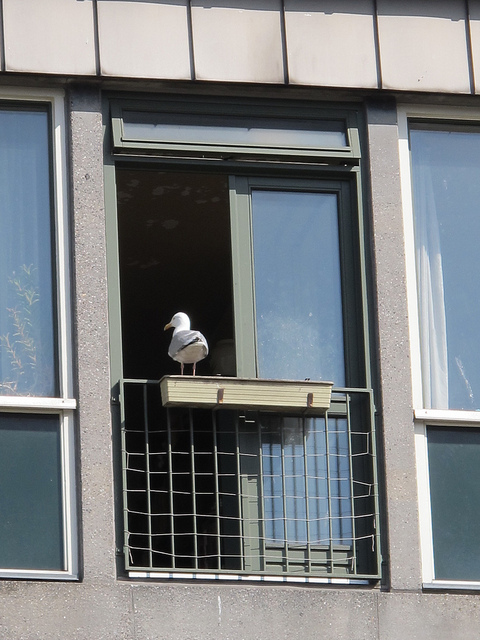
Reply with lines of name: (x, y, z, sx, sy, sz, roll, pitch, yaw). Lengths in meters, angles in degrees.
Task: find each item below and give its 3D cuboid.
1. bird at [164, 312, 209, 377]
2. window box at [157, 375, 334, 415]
bird: (-0.284, 0.133, 10.972, 0.176, 0.399, 0.471, 3, -9, -19)
window box: (0.040, 0.397, 10.832, 0.924, 0.158, 0.161, 2, -11, -16)
